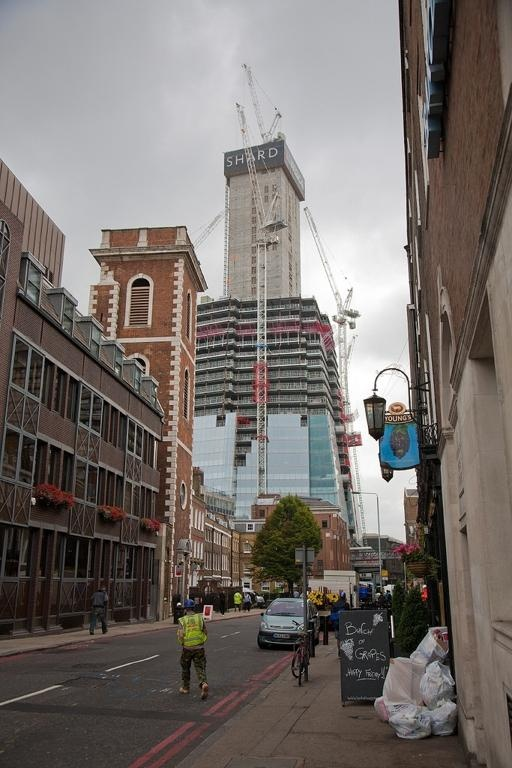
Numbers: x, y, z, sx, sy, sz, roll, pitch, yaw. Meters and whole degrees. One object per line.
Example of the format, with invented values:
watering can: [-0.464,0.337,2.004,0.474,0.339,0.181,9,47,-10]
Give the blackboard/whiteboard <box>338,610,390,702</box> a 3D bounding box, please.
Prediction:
blackboard/whiteboard: [1.822,4.535,8.919,0.858,1.328,0.435,-7,-16,11]

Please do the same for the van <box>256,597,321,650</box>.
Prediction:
van: [1.204,9.089,20.059,2.060,2.274,4.348,-4,-24,10]

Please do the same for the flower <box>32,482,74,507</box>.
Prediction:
flower: [-8.350,4.618,21.686,0.786,0.650,1.087,7,-17,43]

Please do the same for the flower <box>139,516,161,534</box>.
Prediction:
flower: [-6.877,9.344,34.222,0.978,0.708,1.090,11,-5,-6]

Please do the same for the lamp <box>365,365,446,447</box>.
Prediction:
lamp: [3.180,0.586,11.813,1.412,2.355,0.611,-5,-36,20]

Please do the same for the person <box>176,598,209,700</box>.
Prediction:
person: [-1.134,4.841,9.728,0.438,1.682,0.780,3,-8,-45]

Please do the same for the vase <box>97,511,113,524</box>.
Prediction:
vase: [-7.967,7.028,27.863,0.690,0.872,0.363,-8,8,-34]

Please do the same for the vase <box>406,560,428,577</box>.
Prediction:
vase: [3.862,4.444,12.689,0.512,0.385,0.792,-9,-19,15]

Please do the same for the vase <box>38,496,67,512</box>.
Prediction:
vase: [-8.372,4.833,21.838,0.813,0.392,0.716,3,-20,5]
